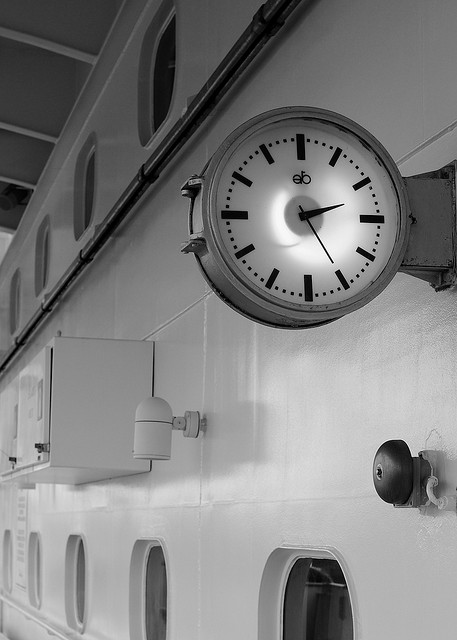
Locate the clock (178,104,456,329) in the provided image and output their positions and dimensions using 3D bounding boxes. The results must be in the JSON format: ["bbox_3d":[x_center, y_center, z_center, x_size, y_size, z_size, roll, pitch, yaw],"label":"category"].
[{"bbox_3d":[0.195,-0.211,1.563,0.585,0.447,0.184,1,-10,-5],"label":"clock"}]
